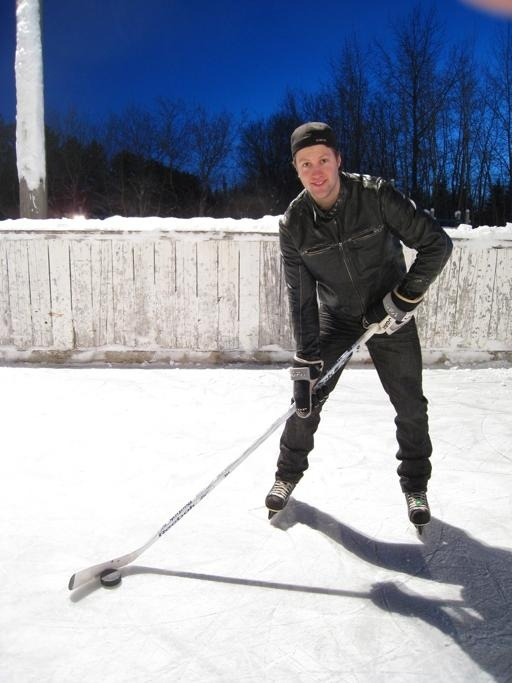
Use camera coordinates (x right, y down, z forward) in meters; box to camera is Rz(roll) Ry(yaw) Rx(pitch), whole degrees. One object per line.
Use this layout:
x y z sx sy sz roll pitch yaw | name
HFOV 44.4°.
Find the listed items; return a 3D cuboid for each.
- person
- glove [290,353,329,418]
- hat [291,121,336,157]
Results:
0.423 -0.115 2.872 0.666 1.753 0.830 1 3 21 | person
0.205 0.178 2.809 0.164 0.260 0.163 -6 16 -28 | glove
0.244 -0.847 2.630 0.132 0.101 0.178 -13 22 21 | hat
